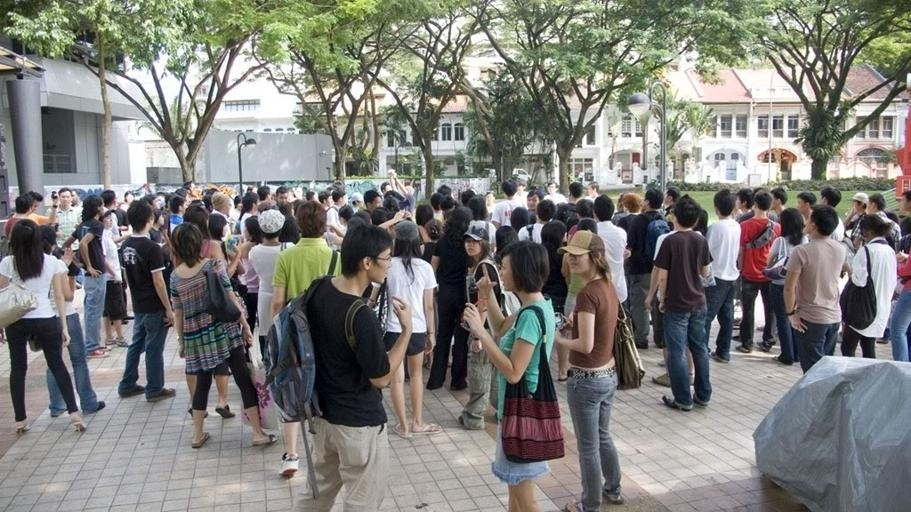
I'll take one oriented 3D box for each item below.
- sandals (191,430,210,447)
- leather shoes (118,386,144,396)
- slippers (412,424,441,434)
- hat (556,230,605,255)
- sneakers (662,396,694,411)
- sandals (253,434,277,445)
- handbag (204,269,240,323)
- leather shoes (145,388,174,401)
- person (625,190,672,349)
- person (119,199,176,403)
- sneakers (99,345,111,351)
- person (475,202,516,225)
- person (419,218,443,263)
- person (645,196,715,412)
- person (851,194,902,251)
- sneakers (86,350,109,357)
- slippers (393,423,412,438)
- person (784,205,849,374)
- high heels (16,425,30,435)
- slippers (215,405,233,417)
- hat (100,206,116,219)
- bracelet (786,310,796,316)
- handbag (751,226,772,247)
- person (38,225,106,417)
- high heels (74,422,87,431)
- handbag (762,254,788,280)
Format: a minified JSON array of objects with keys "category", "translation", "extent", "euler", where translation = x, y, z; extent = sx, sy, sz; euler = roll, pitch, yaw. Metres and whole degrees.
[{"category":"sandals","translation":[-3.817,2.784,10.273],"extent":[0.124,0.132,0.335],"euler":[1,14,0]},{"category":"leather shoes","translation":[-5.474,2.326,11.591],"extent":[0.381,0.162,0.145],"euler":[-7,11,-30]},{"category":"slippers","translation":[-0.410,2.700,10.524],"extent":[0.304,0.098,0.169],"euler":[-3,-1,-1]},{"category":"hat","translation":[1.679,-0.178,8.989],"extent":[0.455,0.242,0.288],"euler":[1,-1,-31]},{"category":"sneakers","translation":[3.568,2.420,11.021],"extent":[0.477,0.217,0.189],"euler":[20,-1,41]},{"category":"sandals","translation":[-2.851,2.808,10.302],"extent":[0.340,0.102,0.131],"euler":[-8,9,-39]},{"category":"handbag","translation":[-3.433,0.622,10.042],"extent":[0.285,0.665,0.582],"euler":[-25,-26,11]},{"category":"leather shoes","translation":[-4.933,2.349,11.451],"extent":[0.456,0.183,0.187],"euler":[-3,6,-25]},{"category":"person","translation":[3.386,0.300,12.903],"extent":[1.012,3.100,1.054],"euler":[2,12,2]},{"category":"person","translation":[-5.049,0.765,11.253],"extent":[1.263,3.372,0.521],"euler":[2,6,37]},{"category":"sneakers","translation":[-6.801,1.818,13.286],"extent":[0.122,0.067,0.165],"euler":[-4,-3,-39]},{"category":"person","translation":[1.004,-0.920,14.121],"extent":[0.496,0.511,0.737],"euler":[-1,5,6]},{"category":"person","translation":[-0.472,-0.149,12.054],"extent":[0.404,1.030,0.319],"euler":[12,47,4]},{"category":"person","translation":[3.681,0.772,10.936],"extent":[0.913,3.443,0.419],"euler":[-3,5,-15]},{"category":"person","translation":[7.903,-0.443,12.996],"extent":[0.600,1.354,0.635],"euler":[26,-18,44]},{"category":"sneakers","translation":[-6.838,1.884,13.099],"extent":[0.345,0.132,0.125],"euler":[-1,4,-8]},{"category":"slippers","translation":[-0.809,2.722,10.514],"extent":[0.143,0.122,0.307],"euler":[-4,12,-35]},{"category":"person","translation":[5.656,0.524,10.741],"extent":[0.895,2.599,0.341],"euler":[0,5,14]},{"category":"high heels","translation":[-6.737,2.737,10.660],"extent":[0.093,0.099,0.232],"euler":[2,7,-1]},{"category":"slippers","translation":[-3.644,2.487,10.803],"extent":[0.136,0.142,0.349],"euler":[12,-12,14]},{"category":"hat","translation":[-6.937,-0.875,13.655],"extent":[0.251,0.339,0.336],"euler":[2,11,-10]},{"category":"bracelet","translation":[5.321,0.908,10.789],"extent":[0.093,0.032,0.094],"euler":[-14,2,-5]},{"category":"handbag","translation":[5.672,-0.335,12.555],"extent":[0.405,0.141,0.301],"euler":[-36,0,-23]},{"category":"person","translation":[-6.115,1.117,11.331],"extent":[0.857,2.966,0.725],"euler":[-9,0,-22]},{"category":"high heels","translation":[-5.814,2.685,10.626],"extent":[0.094,0.115,0.273],"euler":[-2,1,-37]},{"category":"handbag","translation":[5.673,0.202,12.050],"extent":[0.211,0.373,0.386],"euler":[24,-4,12]}]
